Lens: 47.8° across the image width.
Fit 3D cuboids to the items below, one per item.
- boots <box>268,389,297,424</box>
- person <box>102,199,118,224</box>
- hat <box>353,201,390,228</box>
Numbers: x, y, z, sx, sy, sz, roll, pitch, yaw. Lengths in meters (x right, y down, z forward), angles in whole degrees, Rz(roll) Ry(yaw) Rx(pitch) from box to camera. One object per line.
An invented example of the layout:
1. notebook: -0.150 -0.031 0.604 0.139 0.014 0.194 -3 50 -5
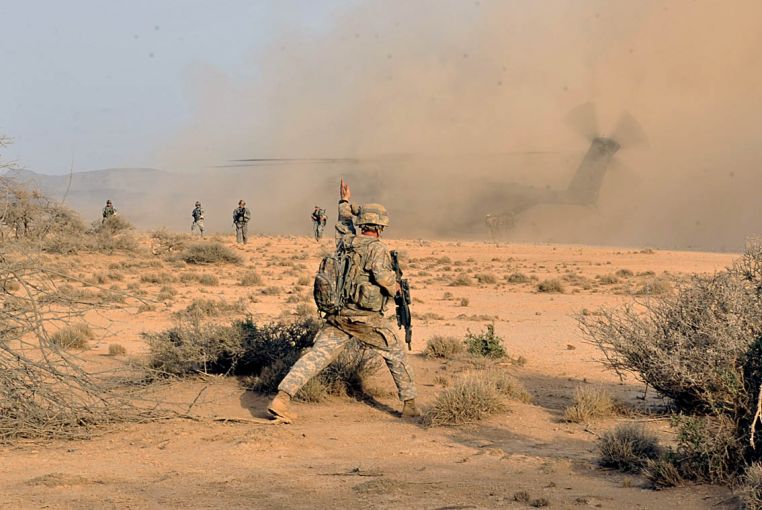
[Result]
1. boots: -1.638 2.425 13.905 0.395 0.544 0.356 0 7 -5
2. person: -14.873 -2.416 46.702 0.627 1.106 2.436 -1 8 -18
3. hat: -0.162 -0.623 13.797 0.689 0.562 0.553 0 3 5
